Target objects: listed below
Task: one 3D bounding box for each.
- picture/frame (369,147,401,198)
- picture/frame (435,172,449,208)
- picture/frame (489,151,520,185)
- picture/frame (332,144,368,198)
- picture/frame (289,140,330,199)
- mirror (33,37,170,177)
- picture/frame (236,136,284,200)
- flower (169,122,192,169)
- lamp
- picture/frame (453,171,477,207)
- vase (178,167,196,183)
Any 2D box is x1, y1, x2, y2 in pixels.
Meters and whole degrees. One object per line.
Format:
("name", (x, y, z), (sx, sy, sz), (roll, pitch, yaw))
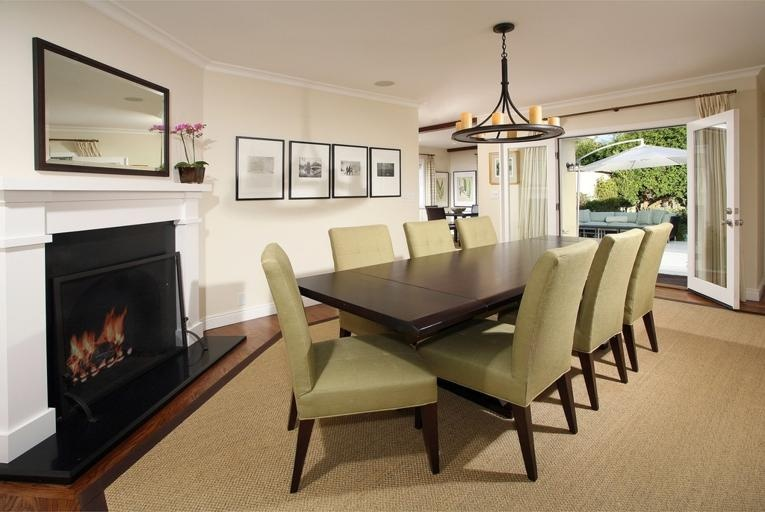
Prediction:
("picture/frame", (0.013, -1.116, 6.409), (0.073, 0.758, 0.666), (7, 8, 44))
("picture/frame", (1.551, -1.735, 12.755), (0.141, 0.886, 0.637), (5, 10, 37))
("picture/frame", (1.892, -1.374, 7.682), (0.544, 0.529, 0.492), (-2, 2, -44))
("picture/frame", (-0.418, -1.067, 6.051), (0.064, 0.565, 0.666), (8, -3, 40))
("picture/frame", (-0.859, -1.015, 5.678), (0.683, 0.821, 0.054), (-5, 9, -41))
("mirror", (-2.205, -1.163, 3.805), (0.058, 0.981, 1.396), (0, -1, 25))
("picture/frame", (-1.336, -0.966, 5.290), (0.057, 0.872, 0.725), (1, 3, 44))
("flower", (-1.884, -1.078, 4.619), (0.161, 0.352, 0.338), (-5, 9, -23))
("lamp", (1.298, -1.838, 5.066), (1.178, 1.112, 1.194), (1, 3, 36))
("picture/frame", (2.108, -1.755, 12.726), (0.215, 0.925, 0.783), (-10, 12, -44))
("vase", (-1.757, -0.741, 4.459), (0.143, 0.111, 0.129), (-2, 5, -5))
